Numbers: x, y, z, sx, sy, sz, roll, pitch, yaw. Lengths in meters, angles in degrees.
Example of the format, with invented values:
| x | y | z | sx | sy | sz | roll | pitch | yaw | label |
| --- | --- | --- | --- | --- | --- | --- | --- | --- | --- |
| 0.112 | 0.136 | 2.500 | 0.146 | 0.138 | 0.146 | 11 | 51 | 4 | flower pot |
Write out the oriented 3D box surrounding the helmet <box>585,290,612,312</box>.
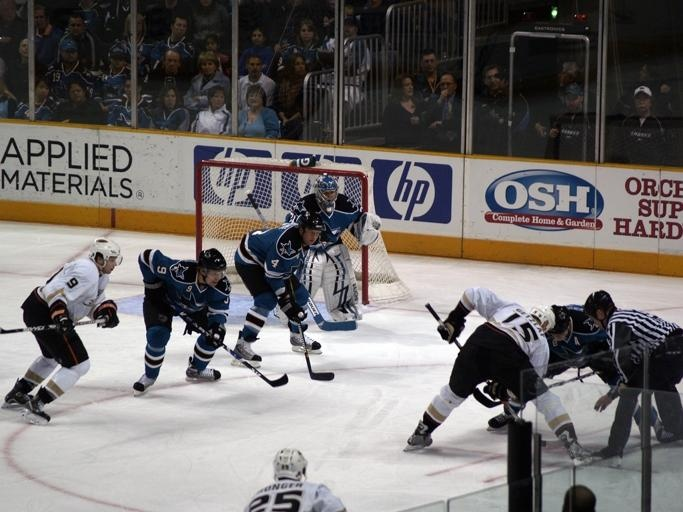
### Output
| x | y | z | sx | sy | sz | roll | pitch | yaw | label |
| --- | --- | --- | --- | --- | --- | --- | --- | --- | --- |
| 1.490 | 0.270 | 5.216 | 0.152 | 0.139 | 0.117 | 3 | 0 | 25 | helmet |

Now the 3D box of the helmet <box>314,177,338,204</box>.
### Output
| x | y | z | sx | sy | sz | roll | pitch | yaw | label |
| --- | --- | --- | --- | --- | --- | --- | --- | --- | --- |
| -0.140 | -0.544 | 7.173 | 0.172 | 0.192 | 0.206 | -6 | 42 | -14 | helmet |

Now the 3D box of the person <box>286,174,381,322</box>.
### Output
| x | y | z | sx | sy | sz | roll | pitch | yaw | label |
| --- | --- | --- | --- | --- | --- | --- | --- | --- | --- |
| -0.077 | -0.026 | 7.375 | 0.850 | 1.213 | 0.726 | -2 | 16 | -2 | person |

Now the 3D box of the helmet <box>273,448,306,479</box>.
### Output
| x | y | z | sx | sy | sz | roll | pitch | yaw | label |
| --- | --- | --- | --- | --- | --- | --- | --- | --- | --- |
| -0.227 | 0.890 | 3.793 | 0.111 | 0.131 | 0.141 | 2 | 6 | 5 | helmet |

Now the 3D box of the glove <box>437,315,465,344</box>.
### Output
| x | y | z | sx | sy | sz | roll | pitch | yaw | label |
| --- | --- | --- | --- | --- | --- | --- | --- | --- | --- |
| 0.658 | 0.456 | 5.423 | 0.131 | 0.175 | 0.074 | 2 | 28 | -28 | glove |

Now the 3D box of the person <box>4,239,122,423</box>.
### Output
| x | y | z | sx | sy | sz | roll | pitch | yaw | label |
| --- | --- | --- | --- | --- | --- | --- | --- | --- | --- |
| -1.717 | 0.455 | 5.482 | 0.705 | 1.098 | 0.549 | 0 | 6 | -14 | person |

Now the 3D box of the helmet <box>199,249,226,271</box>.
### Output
| x | y | z | sx | sy | sz | roll | pitch | yaw | label |
| --- | --- | --- | --- | --- | --- | --- | --- | --- | --- |
| -0.790 | 0.033 | 5.557 | 0.154 | 0.138 | 0.122 | 7 | 18 | 36 | helmet |

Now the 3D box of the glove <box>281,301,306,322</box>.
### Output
| x | y | z | sx | sy | sz | roll | pitch | yaw | label |
| --- | --- | --- | --- | --- | --- | --- | --- | --- | --- |
| -0.353 | 0.405 | 6.403 | 0.165 | 0.059 | 0.124 | 29 | 23 | 26 | glove |

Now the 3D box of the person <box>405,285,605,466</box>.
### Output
| x | y | z | sx | sy | sz | roll | pitch | yaw | label |
| --- | --- | --- | --- | --- | --- | --- | --- | --- | --- |
| 0.809 | 0.665 | 5.109 | 0.972 | 1.137 | 0.680 | 3 | -32 | -9 | person |

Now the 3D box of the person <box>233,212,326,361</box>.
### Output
| x | y | z | sx | sy | sz | roll | pitch | yaw | label |
| --- | --- | --- | --- | --- | --- | --- | --- | --- | --- |
| -0.446 | 0.281 | 6.805 | 0.809 | 1.184 | 0.596 | 15 | 31 | 16 | person |

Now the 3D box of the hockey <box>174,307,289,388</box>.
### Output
| x | y | z | sx | sy | sz | roll | pitch | yaw | label |
| --- | --- | --- | --- | --- | --- | --- | --- | --- | --- |
| -0.793 | 0.676 | 6.384 | 0.911 | 0.081 | 0.134 | 34 | 3 | 33 | hockey |

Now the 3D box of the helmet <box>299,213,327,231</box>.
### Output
| x | y | z | sx | sy | sz | roll | pitch | yaw | label |
| --- | --- | --- | --- | --- | --- | --- | --- | --- | --- |
| -0.212 | -0.229 | 6.240 | 0.174 | 0.120 | 0.167 | 1 | 5 | -4 | helmet |

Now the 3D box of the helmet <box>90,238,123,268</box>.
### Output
| x | y | z | sx | sy | sz | roll | pitch | yaw | label |
| --- | --- | --- | --- | --- | --- | --- | --- | --- | --- |
| -1.438 | -0.014 | 5.558 | 0.211 | 0.185 | 0.153 | 2 | 14 | -10 | helmet |

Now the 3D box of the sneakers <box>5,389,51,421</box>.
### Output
| x | y | z | sx | sy | sz | roll | pitch | yaw | label |
| --- | --- | --- | --- | --- | --- | --- | --- | --- | --- |
| -1.931 | 0.924 | 5.450 | 0.376 | 0.162 | 0.093 | 4 | 6 | 31 | sneakers |

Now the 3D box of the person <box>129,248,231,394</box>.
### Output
| x | y | z | sx | sy | sz | roll | pitch | yaw | label |
| --- | --- | --- | --- | --- | --- | --- | --- | --- | --- |
| -0.961 | 0.431 | 5.893 | 0.776 | 0.983 | 0.540 | 5 | 6 | 31 | person |

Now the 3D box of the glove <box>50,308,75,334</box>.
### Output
| x | y | z | sx | sy | sz | roll | pitch | yaw | label |
| --- | --- | --- | --- | --- | --- | --- | --- | --- | --- |
| -1.641 | 0.389 | 5.247 | 0.137 | 0.131 | 0.059 | -21 | -10 | 22 | glove |

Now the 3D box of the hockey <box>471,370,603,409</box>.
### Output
| x | y | z | sx | sy | sz | roll | pitch | yaw | label |
| --- | --- | --- | --- | --- | --- | --- | --- | --- | --- |
| 1.058 | 0.810 | 5.272 | 0.513 | 0.173 | 0.318 | -13 | -3 | 7 | hockey |

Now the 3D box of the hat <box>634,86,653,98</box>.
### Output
| x | y | z | sx | sy | sz | roll | pitch | yaw | label |
| --- | --- | --- | --- | --- | --- | --- | --- | --- | --- |
| 2.951 | -1.586 | 8.742 | 0.103 | 0.075 | 0.136 | -4 | -27 | 18 | hat |

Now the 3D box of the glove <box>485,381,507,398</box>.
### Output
| x | y | z | sx | sy | sz | roll | pitch | yaw | label |
| --- | --- | --- | --- | --- | --- | --- | --- | --- | --- |
| 0.914 | 0.788 | 5.300 | 0.123 | 0.084 | 0.052 | 20 | 44 | 31 | glove |
